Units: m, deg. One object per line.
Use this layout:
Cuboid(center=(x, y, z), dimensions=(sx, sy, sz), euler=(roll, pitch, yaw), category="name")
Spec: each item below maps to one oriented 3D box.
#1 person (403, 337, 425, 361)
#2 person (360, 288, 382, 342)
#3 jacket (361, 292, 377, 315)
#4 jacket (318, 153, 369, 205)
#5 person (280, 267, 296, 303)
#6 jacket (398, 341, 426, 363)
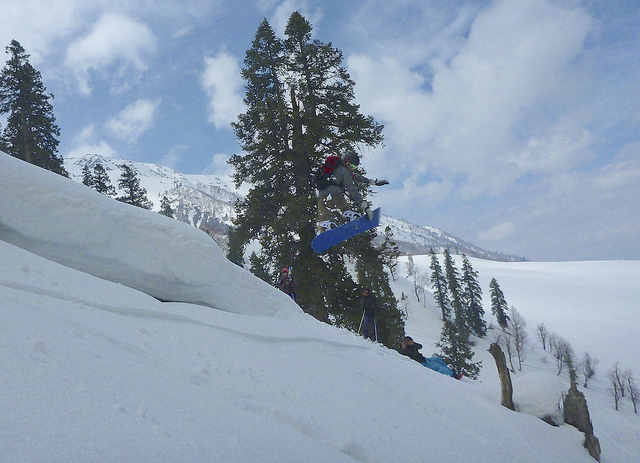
Cuboid(center=(2.845, 3.596, 17.294), dimensions=(0.611, 0.476, 0.724), euler=(-2, 2, 26), category="person")
Cuboid(center=(1.884, 3.125, 20.677), dimensions=(0.646, 1.475, 2.323), euler=(-3, 2, 6), category="person")
Cuboid(center=(1.745, 2.533, 19.675), dimensions=(0.486, 0.704, 0.233), euler=(2, -4, 33), category="jacket")
Cuboid(center=(0.701, -1.483, 16.373), dimensions=(1.288, 1.113, 0.582), euler=(-2, 2, 30), category="jacket")
Cuboid(center=(-1.161, 1.913, 20.226), dimensions=(0.532, 0.945, 1.220), euler=(-3, 2, -4), category="person")
Cuboid(center=(2.839, 3.654, 17.347), dimensions=(0.714, 0.288, 0.556), euler=(29, -41, -10), category="jacket")
